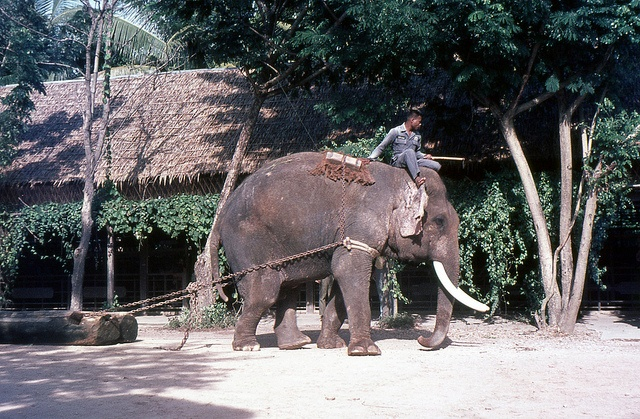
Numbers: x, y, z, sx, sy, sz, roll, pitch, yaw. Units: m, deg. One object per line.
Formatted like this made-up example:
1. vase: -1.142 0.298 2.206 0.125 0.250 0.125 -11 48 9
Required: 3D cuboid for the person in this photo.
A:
1. person: 1.759 -1.249 16.053 1.405 1.610 1.089 0 -6 11
